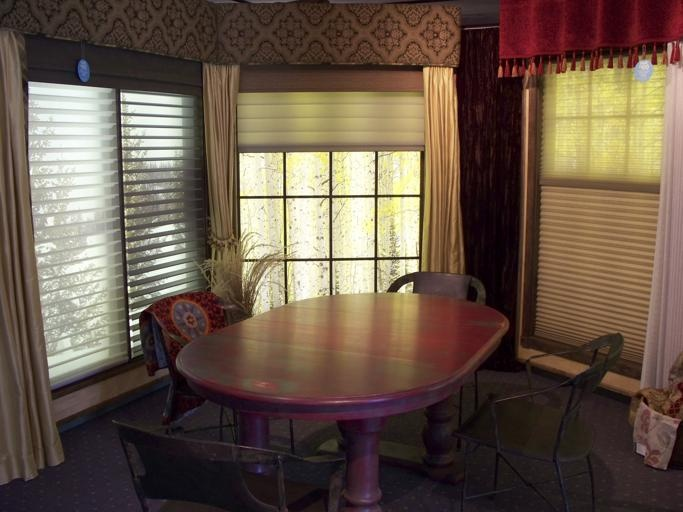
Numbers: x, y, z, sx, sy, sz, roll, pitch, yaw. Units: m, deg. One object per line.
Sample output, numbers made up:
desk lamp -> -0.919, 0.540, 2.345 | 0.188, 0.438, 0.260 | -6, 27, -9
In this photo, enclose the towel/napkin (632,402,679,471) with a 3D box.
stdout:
towel/napkin -> 1.856, 1.056, 3.124 | 0.050, 0.370, 0.344 | -2, 7, -19
